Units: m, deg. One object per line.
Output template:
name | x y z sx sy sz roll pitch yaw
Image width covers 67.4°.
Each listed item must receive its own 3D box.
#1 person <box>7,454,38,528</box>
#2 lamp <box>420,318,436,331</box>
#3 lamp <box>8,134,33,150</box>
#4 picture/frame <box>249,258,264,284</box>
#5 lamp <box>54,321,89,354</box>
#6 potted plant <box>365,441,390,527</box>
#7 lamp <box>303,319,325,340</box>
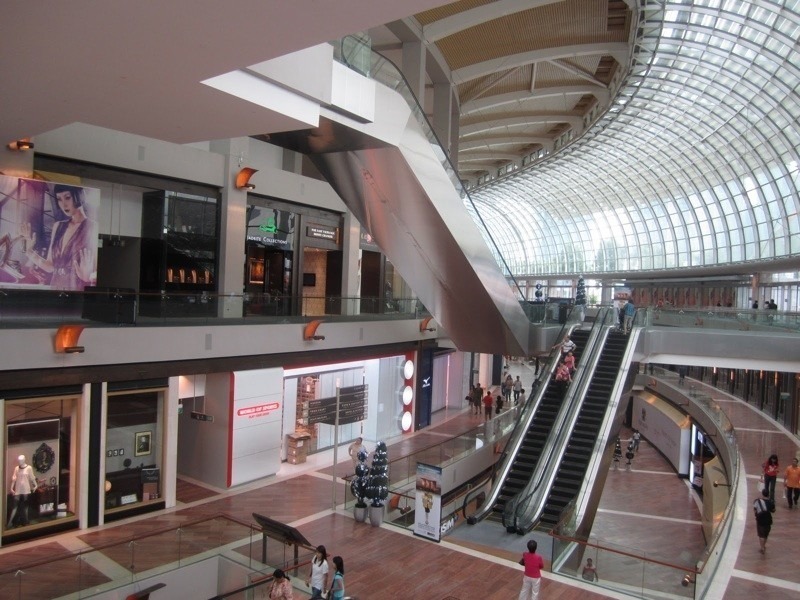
person | -8.098 4.058 12.828 0.502 1.514 0.256 -1 -6 -40
lamp | 1.034 0.935 23.237 0.251 0.573 0.907 -6 -4 24
lamp | -8.406 -3.532 13.261 0.458 0.322 0.598 -1 -5 -38
picture/frame | -5.111 -1.075 21.191 0.478 0.902 0.935 0 -1 16
lamp | -7.050 0.795 12.773 0.611 0.720 0.566 0 1 -44
potted plant | -0.526 4.417 14.492 0.410 1.897 0.577 -6 -5 26
lamp | -2.549 0.893 17.843 0.275 0.597 0.800 -6 -4 28
